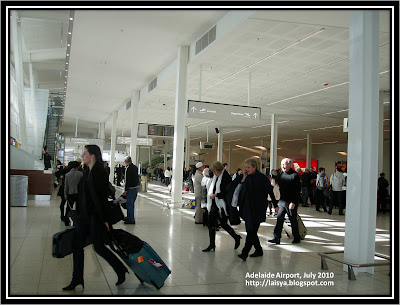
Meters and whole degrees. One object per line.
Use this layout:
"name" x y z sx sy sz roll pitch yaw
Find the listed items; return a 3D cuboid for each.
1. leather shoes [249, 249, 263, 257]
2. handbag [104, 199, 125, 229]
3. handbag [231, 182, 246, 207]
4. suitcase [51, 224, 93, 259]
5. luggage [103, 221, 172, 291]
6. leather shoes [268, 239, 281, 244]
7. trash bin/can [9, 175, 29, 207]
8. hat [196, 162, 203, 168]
"leather shoes" 1.066 1.894 5.411 0.292 0.124 0.099 2 -5 -6
"handbag" -1.137 0.785 3.732 0.277 0.416 0.298 -3 -10 -36
"handbag" 0.722 0.765 5.324 0.211 0.554 0.135 4 38 13
"suitcase" -1.628 1.102 3.547 0.156 0.326 0.276 -1 -1 19
"luggage" -0.765 1.320 3.848 1.298 0.401 0.389 42 -15 -4
"leather shoes" 1.657 2.000 6.528 0.283 0.121 0.097 2 0 32
"trash bin/can" -6.600 1.414 10.848 0.726 1.138 0.719 3 3 9
"hat" -0.016 0.347 8.175 0.137 0.134 0.180 -16 -15 32
